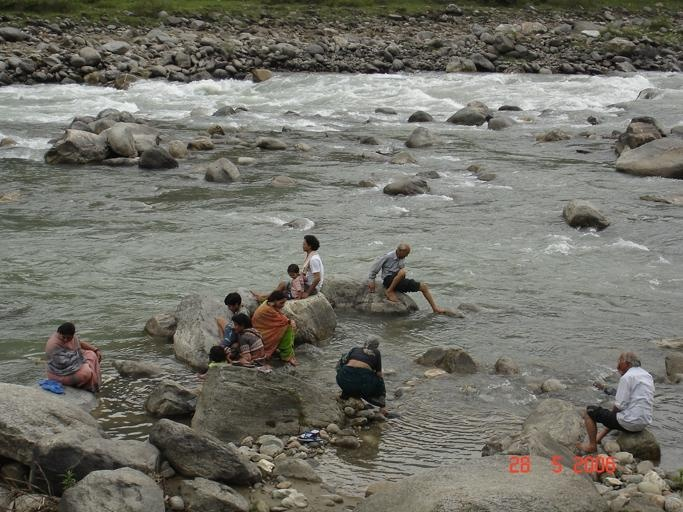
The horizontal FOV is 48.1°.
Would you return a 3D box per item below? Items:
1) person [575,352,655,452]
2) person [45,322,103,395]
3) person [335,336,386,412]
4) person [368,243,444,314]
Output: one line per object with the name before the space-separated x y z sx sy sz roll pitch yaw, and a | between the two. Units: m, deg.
person | 4.540 2.391 12.518 1.017 1.526 1.038 7 20 17
person | -4.583 1.756 13.153 0.935 1.278 0.642 -11 23 -31
person | 0.377 2.042 13.542 0.876 1.148 0.729 1 19 0
person | 1.360 0.455 17.101 1.424 1.476 0.820 14 23 36
